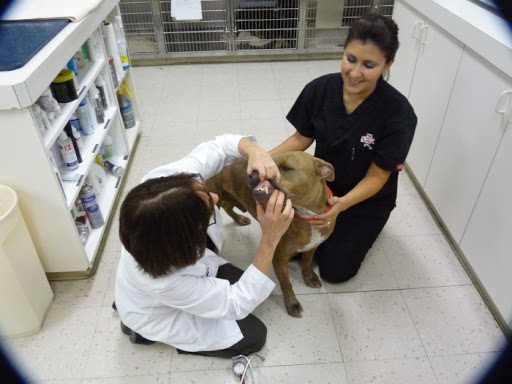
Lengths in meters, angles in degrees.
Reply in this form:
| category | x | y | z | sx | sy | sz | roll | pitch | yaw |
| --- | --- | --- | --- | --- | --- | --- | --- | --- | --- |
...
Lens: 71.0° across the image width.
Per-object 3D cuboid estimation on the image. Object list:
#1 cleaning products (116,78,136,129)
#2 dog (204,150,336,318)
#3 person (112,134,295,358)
| category | x | y | z | sx | sy | sz | roll | pitch | yaw |
| --- | --- | --- | --- | --- | --- | --- | --- | --- | --- |
| cleaning products | -1.133 | -0.737 | 3.093 | 0.149 | 0.390 | 0.125 | -22 | 47 | -23 |
| dog | 0.091 | 0.223 | 1.797 | 0.353 | 0.709 | 0.653 | -31 | 54 | -22 |
| person | -0.277 | 0.357 | 1.706 | 0.772 | 1.074 | 0.549 | -16 | 35 | -26 |
